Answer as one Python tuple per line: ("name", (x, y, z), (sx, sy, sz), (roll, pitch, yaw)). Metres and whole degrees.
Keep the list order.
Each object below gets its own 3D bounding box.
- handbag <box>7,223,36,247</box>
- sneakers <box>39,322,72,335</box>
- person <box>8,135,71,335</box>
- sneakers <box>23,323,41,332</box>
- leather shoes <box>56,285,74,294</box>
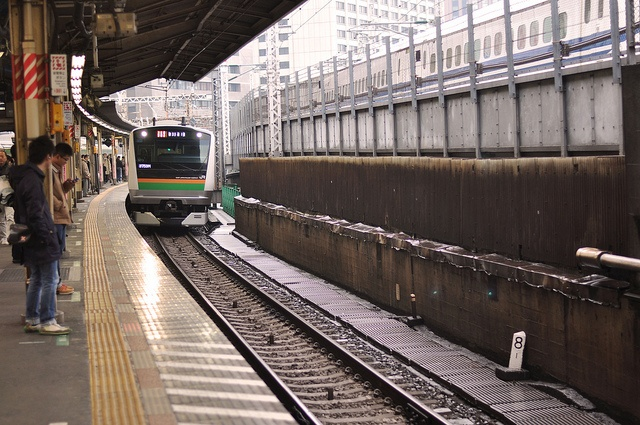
("handbag", (-4.012, 0.306, 7.150), (0.427, 0.427, 0.223), (1, -7, -27))
("sneakers", (-3.825, 1.658, 7.648), (0.457, 0.203, 0.173), (1, -1, -8))
("person", (-3.951, 0.359, 7.362), (0.631, 2.793, 0.667), (-2, 7, -31))
("sneakers", (-4.205, 1.649, 7.650), (0.102, 0.131, 0.282), (2, -13, -23))
("leather shoes", (-4.752, 1.421, 9.818), (0.310, 0.149, 0.136), (1, 0, -4))
